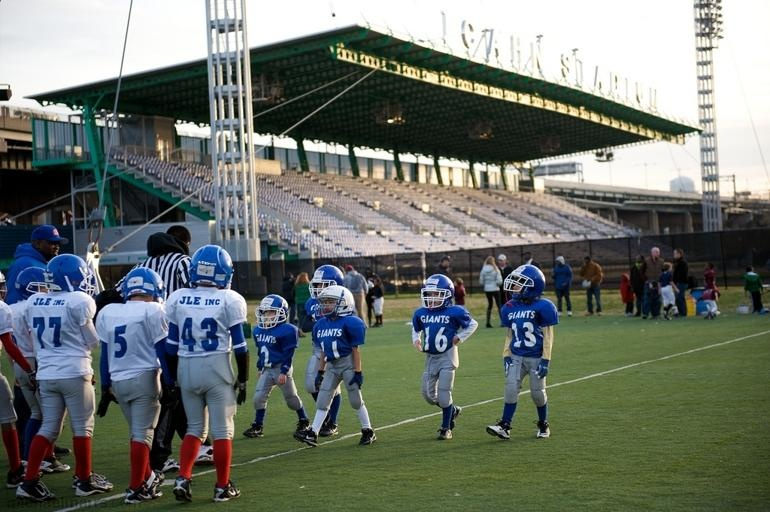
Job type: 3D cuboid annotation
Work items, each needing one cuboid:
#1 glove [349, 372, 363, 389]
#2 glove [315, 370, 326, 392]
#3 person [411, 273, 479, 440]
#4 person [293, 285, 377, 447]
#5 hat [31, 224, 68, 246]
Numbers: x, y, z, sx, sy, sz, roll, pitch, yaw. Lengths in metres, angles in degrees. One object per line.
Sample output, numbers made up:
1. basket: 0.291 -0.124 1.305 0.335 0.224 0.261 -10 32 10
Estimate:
1. glove: -0.644 2.852 29.306 0.266 0.408 0.208 -3 -17 25
2. glove: -1.502 2.893 29.594 0.205 0.404 0.288 13 -4 2
3. person: 1.309 2.323 29.479 1.361 3.690 0.958 1 11 6
4. person: -1.124 2.516 29.352 1.508 3.552 1.068 -1 11 -2
5. hat: -7.836 -0.503 29.416 0.818 0.513 0.515 -4 2 -12
